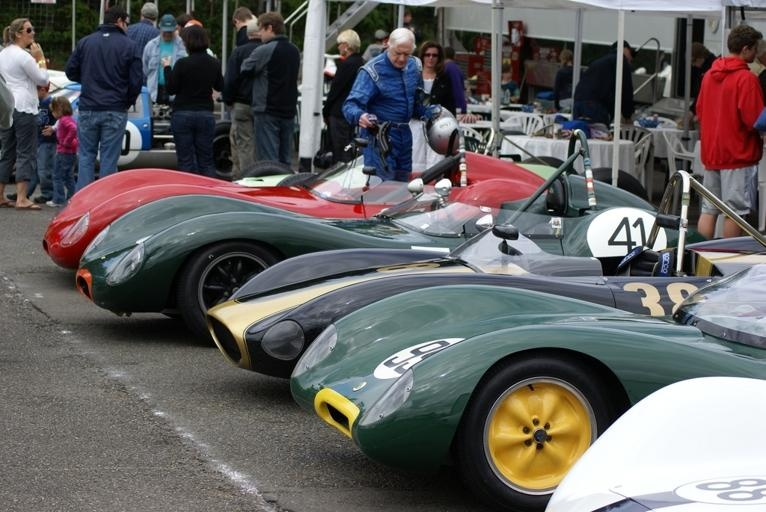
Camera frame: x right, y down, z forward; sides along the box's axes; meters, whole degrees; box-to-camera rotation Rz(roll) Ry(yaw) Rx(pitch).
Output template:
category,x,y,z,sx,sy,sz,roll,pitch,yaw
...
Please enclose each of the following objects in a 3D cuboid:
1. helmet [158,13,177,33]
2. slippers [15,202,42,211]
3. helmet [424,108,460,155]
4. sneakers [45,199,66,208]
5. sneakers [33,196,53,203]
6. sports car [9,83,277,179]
category,x,y,z,sx,sy,sz,roll,pitch,yaw
helmet,-3.446,-4.092,13.383,0.249,0.159,0.338,1,22,-15
slippers,-4.640,-0.811,10.969,0.307,0.076,0.125,-2,10,-18
helmet,0.539,-1.293,7.814,0.377,0.433,0.406,-9,23,1
sneakers,-4.415,-0.880,11.302,0.236,0.098,0.098,7,14,0
sneakers,-4.800,-0.965,11.738,0.383,0.128,0.167,3,17,45
sports car,-4.441,-2.078,13.081,2.549,1.713,4.138,0,5,42
